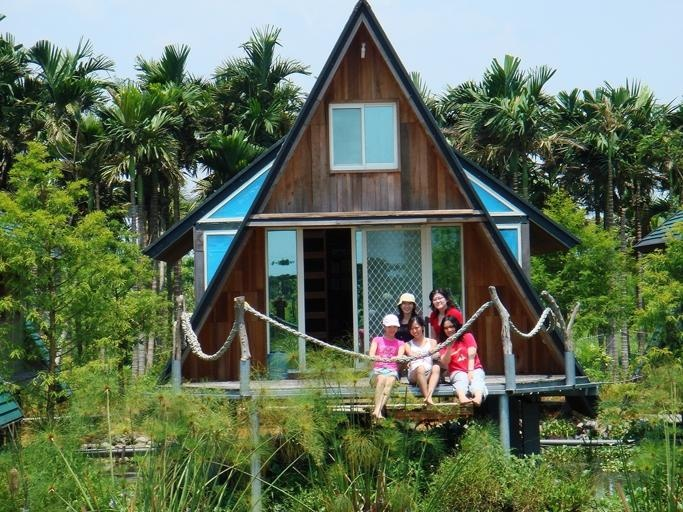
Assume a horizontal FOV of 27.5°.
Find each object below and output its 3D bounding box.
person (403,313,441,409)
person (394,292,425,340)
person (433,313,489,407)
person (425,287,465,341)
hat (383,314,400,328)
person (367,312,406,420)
[{"bbox_3d":[2.104,2.381,32.009,0.809,2.084,1.081,-1,-11,4],"label":"person"},{"bbox_3d":[1.802,1.434,32.794,0.776,1.819,0.571,0,-7,-3],"label":"person"},{"bbox_3d":[3.074,2.452,32.111,0.836,1.543,2.246,-20,29,11],"label":"person"},{"bbox_3d":[2.706,1.381,32.761,0.806,1.373,0.636,2,12,26],"label":"person"},{"bbox_3d":[1.378,1.495,32.302,0.278,0.202,0.449,2,-1,-4],"label":"hat"},{"bbox_3d":[1.232,2.532,31.676,0.812,2.471,1.305,-2,-11,9],"label":"person"}]
